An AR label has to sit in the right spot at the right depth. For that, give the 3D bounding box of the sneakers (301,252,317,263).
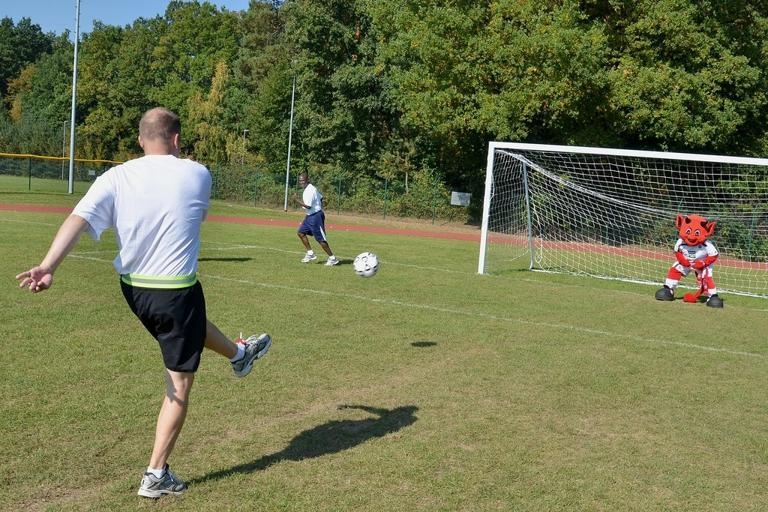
[{"bbox_3d":[-1.910,0.065,17.372,0.450,0.216,0.186,-1,9,11],"label":"sneakers"}]

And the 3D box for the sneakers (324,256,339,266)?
[{"bbox_3d":[-1.351,0.152,17.243,0.195,0.149,0.414,25,-12,-24],"label":"sneakers"}]

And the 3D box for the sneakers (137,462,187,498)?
[{"bbox_3d":[-2.269,2.333,7.082,0.232,0.282,0.546,7,-7,40],"label":"sneakers"}]

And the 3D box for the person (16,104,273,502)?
[{"bbox_3d":[-2.517,0.447,7.050,1.334,3.947,0.684,5,7,1],"label":"person"}]

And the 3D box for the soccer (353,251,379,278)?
[{"bbox_3d":[-0.337,0.197,12.643,0.405,0.482,0.579,5,6,2],"label":"soccer"}]
